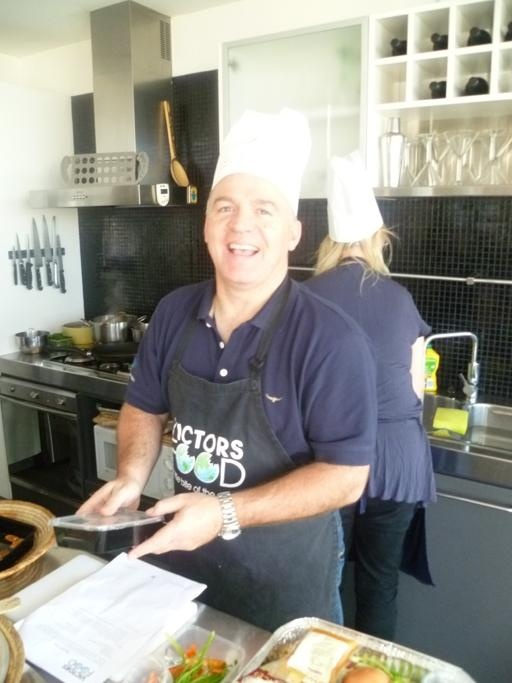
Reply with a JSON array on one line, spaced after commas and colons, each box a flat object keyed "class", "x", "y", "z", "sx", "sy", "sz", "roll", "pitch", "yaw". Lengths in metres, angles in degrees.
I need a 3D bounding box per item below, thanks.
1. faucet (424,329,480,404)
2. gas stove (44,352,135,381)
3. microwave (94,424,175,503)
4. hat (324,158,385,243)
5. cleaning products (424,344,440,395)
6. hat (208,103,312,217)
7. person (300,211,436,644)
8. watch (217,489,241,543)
[{"class": "faucet", "x": 0.756, "y": 0.105, "z": 2.101, "sx": 0.214, "sy": 0.320, "sz": 0.075, "roll": -4, "pitch": 34, "yaw": 9}, {"class": "gas stove", "x": -0.816, "y": 0.117, "z": 2.645, "sx": 0.278, "sy": 0.086, "sz": 0.531, "roll": -7, "pitch": 13, "yaw": -39}, {"class": "microwave", "x": -0.551, "y": 0.518, "z": 2.561, "sx": 0.373, "sy": 0.260, "sz": 0.223, "roll": 5, "pitch": 13, "yaw": 23}, {"class": "hat", "x": 0.283, "y": -0.409, "z": 1.690, "sx": 0.168, "sy": 0.288, "sz": 0.191, "roll": -14, "pitch": 7, "yaw": 15}, {"class": "cleaning products", "x": 0.706, "y": 0.097, "z": 2.231, "sx": 0.086, "sy": 0.218, "sz": 0.065, "roll": -1, "pitch": 22, "yaw": 12}, {"class": "hat", "x": 0.029, "y": -0.355, "z": 1.064, "sx": 0.168, "sy": 0.183, "sz": 0.210, "roll": -8, "pitch": 23, "yaw": -33}, {"class": "person", "x": 0.347, "y": 0.305, "z": 1.736, "sx": 0.426, "sy": 1.426, "sz": 0.395, "roll": 3, "pitch": 16, "yaw": 27}, {"class": "watch", "x": -0.042, "y": 0.267, "z": 0.842, "sx": 0.036, "sy": 0.071, "sz": 0.063, "roll": -3, "pitch": 19, "yaw": -1}]
